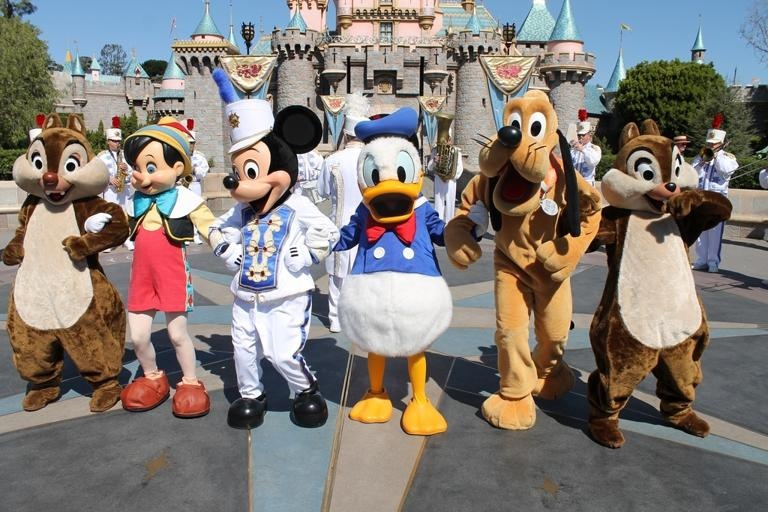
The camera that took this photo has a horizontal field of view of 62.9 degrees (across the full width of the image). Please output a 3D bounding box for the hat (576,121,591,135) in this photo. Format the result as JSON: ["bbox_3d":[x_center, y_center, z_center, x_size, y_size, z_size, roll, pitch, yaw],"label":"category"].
[{"bbox_3d":[3.452,-2.184,10.816,0.235,0.128,0.241,2,9,27],"label":"hat"}]

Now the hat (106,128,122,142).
[{"bbox_3d":[-4.275,-1.914,9.982,0.216,0.170,0.265,-4,12,-34],"label":"hat"}]

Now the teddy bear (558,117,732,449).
[{"bbox_3d":[1.998,0.228,4.802,0.999,2.200,0.692,-6,17,-17],"label":"teddy bear"}]

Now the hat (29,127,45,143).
[{"bbox_3d":[-2.834,-0.994,5.156,0.151,0.130,0.165,0,-1,-29],"label":"hat"}]

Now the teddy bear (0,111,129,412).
[{"bbox_3d":[-2.559,0.059,5.072,0.988,2.283,0.699,-1,16,-1],"label":"teddy bear"}]

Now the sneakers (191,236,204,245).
[{"bbox_3d":[-1.608,-0.142,5.435,0.056,0.071,0.163,-4,-2,-27],"label":"sneakers"}]
